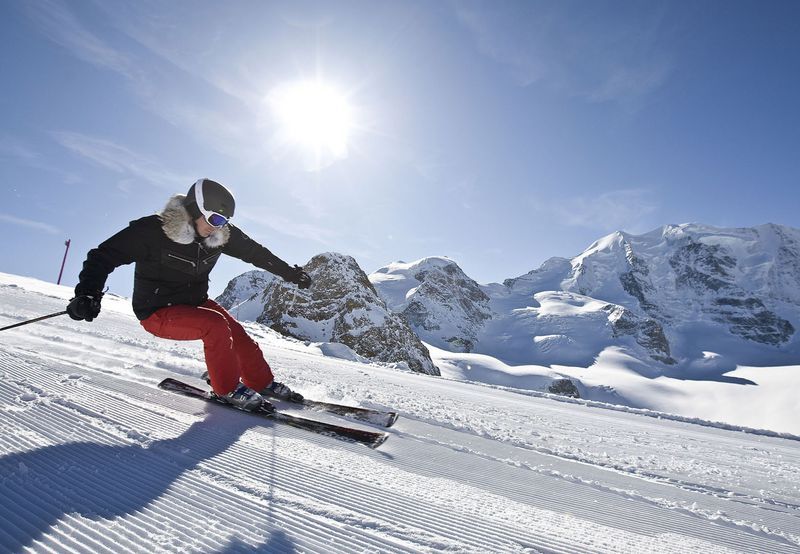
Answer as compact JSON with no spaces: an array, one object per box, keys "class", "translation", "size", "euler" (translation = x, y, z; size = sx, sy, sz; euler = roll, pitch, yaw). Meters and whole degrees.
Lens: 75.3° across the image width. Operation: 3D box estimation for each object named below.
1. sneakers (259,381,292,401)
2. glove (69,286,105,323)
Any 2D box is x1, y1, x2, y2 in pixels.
[{"class":"sneakers","translation":[-1.461,1.361,6.193],"size":[0.537,0.181,0.155],"euler":[-1,9,14]},{"class":"glove","translation":[-3.240,0.295,5.310],"size":[0.275,0.314,0.979],"euler":[15,-8,-28]}]
